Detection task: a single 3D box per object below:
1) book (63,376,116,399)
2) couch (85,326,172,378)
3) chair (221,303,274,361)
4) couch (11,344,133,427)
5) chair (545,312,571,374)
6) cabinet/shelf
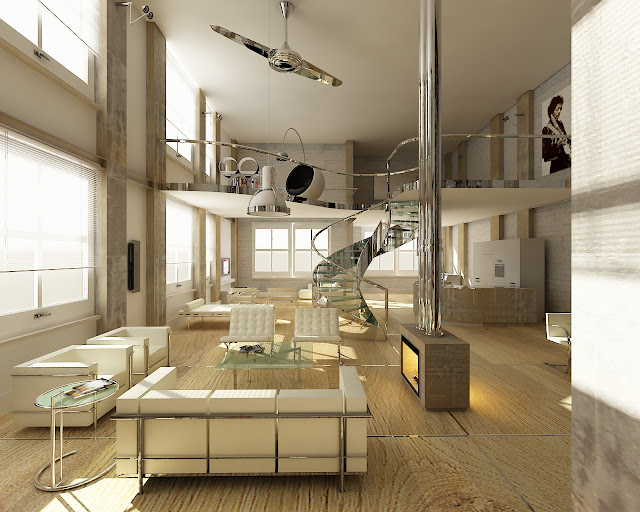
[{"bbox_3d":[-2.144,1.221,4.256,0.327,0.048,0.376,0,1,26],"label":"book"},{"bbox_3d":[-2.420,1.201,6.006,0.619,0.607,0.953,0,2,-3],"label":"couch"},{"bbox_3d":[-1.156,1.218,7.341,0.868,0.687,0.802,0,1,0],"label":"chair"},{"bbox_3d":[-2.637,1.323,5.020,0.849,0.600,1.273,0,0,-4],"label":"couch"},{"bbox_3d":[3.446,1.248,6.680,0.428,0.614,0.383,7,-6,29],"label":"chair"},{"bbox_3d":[4.558,0.527,11.367,0.758,1.744,2.148,0,0,-7],"label":"cabinet/shelf"}]
